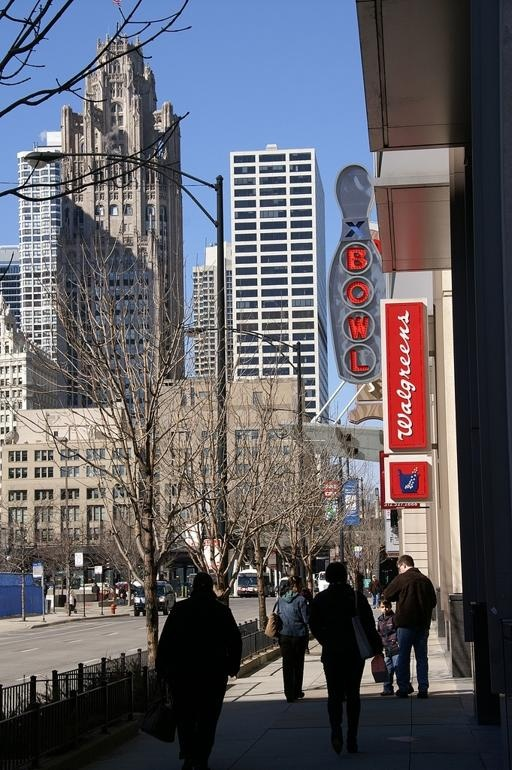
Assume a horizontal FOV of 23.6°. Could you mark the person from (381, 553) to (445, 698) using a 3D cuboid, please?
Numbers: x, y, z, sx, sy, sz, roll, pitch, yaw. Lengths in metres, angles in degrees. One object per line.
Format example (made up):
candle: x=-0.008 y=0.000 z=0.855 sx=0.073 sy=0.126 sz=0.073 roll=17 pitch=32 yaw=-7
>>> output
person: x=1.757 y=2.839 z=14.116 sx=0.569 sy=1.668 sz=0.827 roll=-4 pitch=-7 yaw=6

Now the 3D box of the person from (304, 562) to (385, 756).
person: x=0.764 y=2.364 z=10.559 sx=0.605 sy=1.616 sz=1.059 roll=-4 pitch=-7 yaw=4

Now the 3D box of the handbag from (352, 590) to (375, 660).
handbag: x=0.906 y=2.133 z=10.608 sx=0.162 sy=0.562 sz=0.535 roll=-4 pitch=-7 yaw=5
